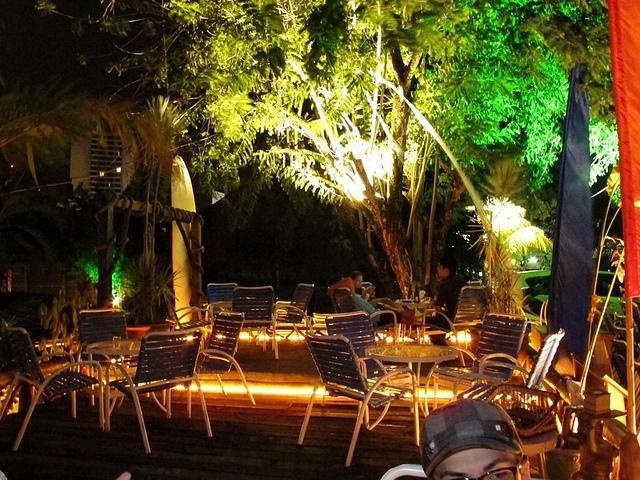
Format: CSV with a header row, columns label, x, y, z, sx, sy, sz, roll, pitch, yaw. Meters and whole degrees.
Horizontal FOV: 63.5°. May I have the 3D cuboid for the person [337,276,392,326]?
label,x,y,z,sx,sy,sz,roll,pitch,yaw
person,0.883,1.232,9.953,0.631,1.355,0.525,-17,8,-33
